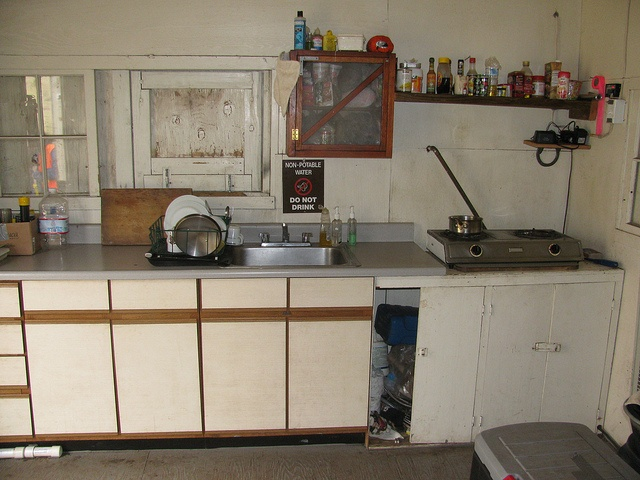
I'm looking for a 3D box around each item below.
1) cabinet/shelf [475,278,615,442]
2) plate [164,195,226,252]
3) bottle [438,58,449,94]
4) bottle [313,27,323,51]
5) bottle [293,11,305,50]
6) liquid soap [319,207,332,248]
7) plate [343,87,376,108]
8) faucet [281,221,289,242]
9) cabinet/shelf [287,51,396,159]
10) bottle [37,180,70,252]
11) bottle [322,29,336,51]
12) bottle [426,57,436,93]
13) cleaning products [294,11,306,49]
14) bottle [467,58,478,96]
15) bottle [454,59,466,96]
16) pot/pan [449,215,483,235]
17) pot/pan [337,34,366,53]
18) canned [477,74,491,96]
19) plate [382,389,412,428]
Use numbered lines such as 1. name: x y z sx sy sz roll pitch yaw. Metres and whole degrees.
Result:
1. cabinet/shelf: 1.455 0.720 4.183 0.843 1.191 0.429 -1 21 2
2. plate: -0.793 -0.071 3.910 0.335 0.385 0.074 -4 -5 1
3. bottle: 0.823 -1.090 4.123 0.097 0.232 0.247 1 12 11
4. bottle: -0.024 -1.301 3.997 0.066 0.145 0.119 -1 12 0
5. bottle: -0.135 -1.349 3.979 0.071 0.246 0.111 -1 12 -1
6. liquid soap: 0.026 -0.088 4.275 0.078 0.247 0.174 -1 12 2
7. plate: 0.273 -0.913 4.010 0.147 0.138 0.047 -4 12 -7
8. faucet: -0.248 -0.047 4.280 0.043 0.122 0.091 -2 12 -6
9. cabinet/shelf: 0.118 -0.902 4.003 0.676 0.621 0.241 0 8 -3
10. bottle: -1.796 -0.158 4.165 0.191 0.375 0.332 -6 13 -21
11. bottle: 0.051 -1.291 4.012 0.086 0.123 0.094 -1 12 0
12. bottle: 0.734 -1.094 4.106 0.070 0.248 0.242 1 12 10
13. cleaning products: -0.135 -1.349 3.979 0.071 0.246 0.111 -1 12 -1
14. bottle: 1.016 -1.097 4.159 0.065 0.247 0.271 2 12 13
15. bottle: 0.923 -1.079 4.094 0.081 0.230 0.160 2 12 14
16. pot/pan: 0.985 -0.100 4.132 0.144 0.060 0.162 -8 13 -35
17. pot/pan: 0.189 -1.265 3.977 0.165 0.115 0.081 -1 12 -1
18. canned: 1.076 -1.015 4.075 0.102 0.144 0.061 -9 15 -35
19. plate: 0.505 1.139 4.152 0.215 0.082 0.160 29 -9 -21
